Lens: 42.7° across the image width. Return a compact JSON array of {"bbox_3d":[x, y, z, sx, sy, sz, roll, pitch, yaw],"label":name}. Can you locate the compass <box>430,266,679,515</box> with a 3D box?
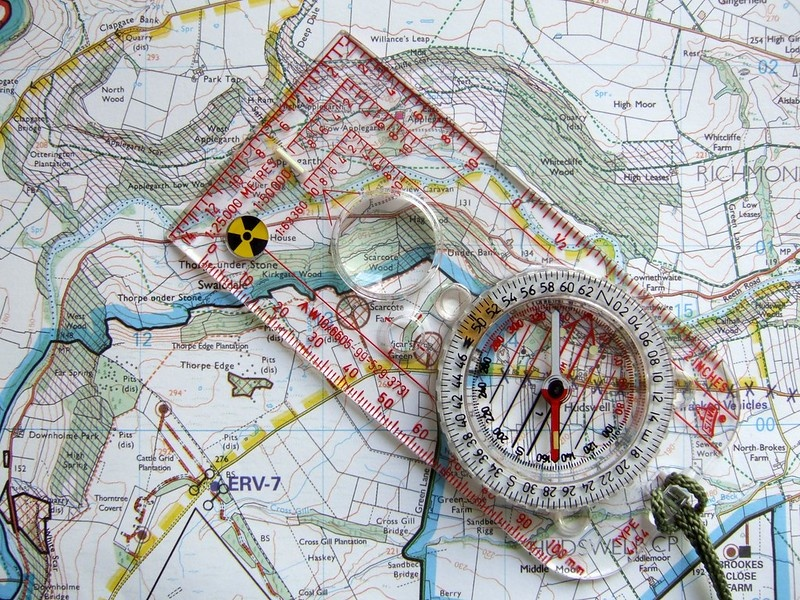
[{"bbox_3d":[0.581,0.334,3.847,0.880,0.544,0.684,-1,-52,2],"label":"compass"}]
